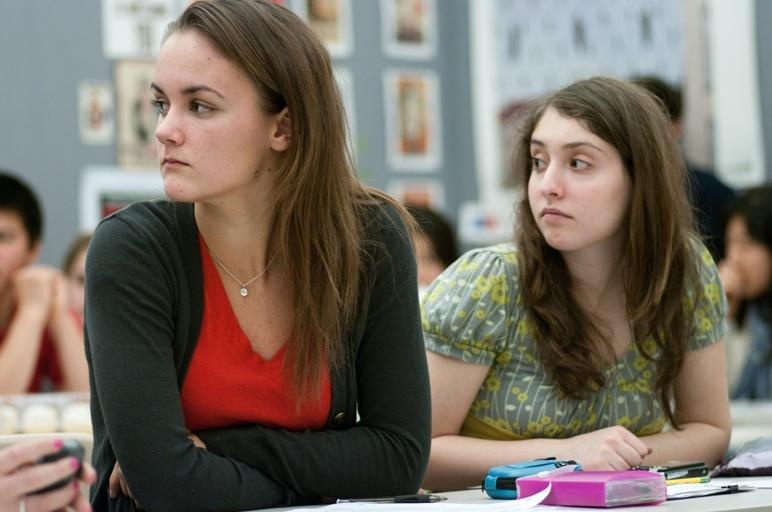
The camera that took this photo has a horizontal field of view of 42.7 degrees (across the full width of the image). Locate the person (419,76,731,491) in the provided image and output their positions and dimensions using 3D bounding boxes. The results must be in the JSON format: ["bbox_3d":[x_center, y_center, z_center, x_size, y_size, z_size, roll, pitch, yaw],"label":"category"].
[{"bbox_3d":[0.595,0.087,3.364,1.126,1.376,0.904,-2,12,5],"label":"person"}]

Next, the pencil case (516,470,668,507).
[{"bbox_3d":[0.531,0.614,2.590,0.377,0.092,0.168,-5,-2,24],"label":"pencil case"}]
